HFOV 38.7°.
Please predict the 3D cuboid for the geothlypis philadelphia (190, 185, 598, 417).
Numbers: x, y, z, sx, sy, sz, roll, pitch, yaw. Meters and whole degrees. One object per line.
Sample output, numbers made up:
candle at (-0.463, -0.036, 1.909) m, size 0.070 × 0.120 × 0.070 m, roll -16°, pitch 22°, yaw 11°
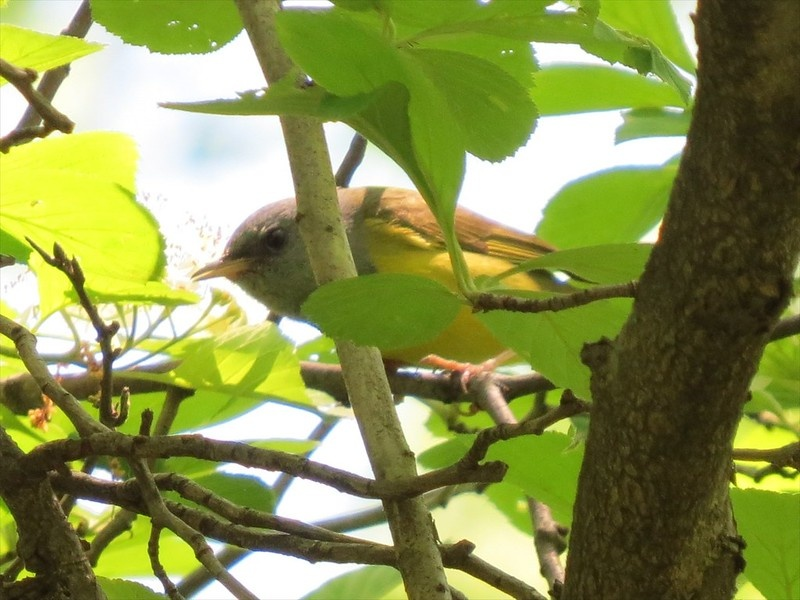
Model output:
geothlypis philadelphia at (-0.066, -0.074, 3.011) m, size 1.136 × 0.463 × 0.391 m, roll -10°, pitch -97°, yaw 1°
